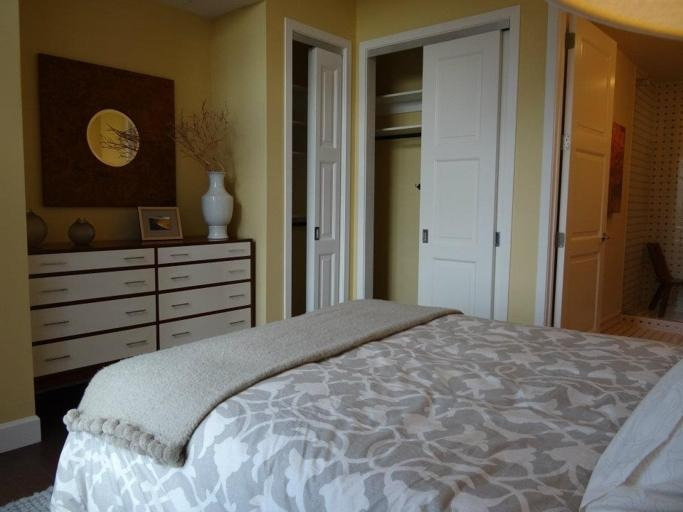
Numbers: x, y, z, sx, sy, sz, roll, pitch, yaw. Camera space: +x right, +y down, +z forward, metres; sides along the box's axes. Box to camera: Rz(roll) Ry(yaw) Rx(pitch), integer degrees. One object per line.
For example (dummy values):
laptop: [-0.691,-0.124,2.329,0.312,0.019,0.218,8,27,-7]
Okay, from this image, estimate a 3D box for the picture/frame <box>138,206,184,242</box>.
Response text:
picture/frame: [-1.408,-0.240,3.813,0.289,0.298,0.030,1,-22,-41]

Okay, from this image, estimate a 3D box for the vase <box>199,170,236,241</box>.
vase: [-0.991,-0.401,3.953,0.338,0.511,0.347,-1,7,-19]
